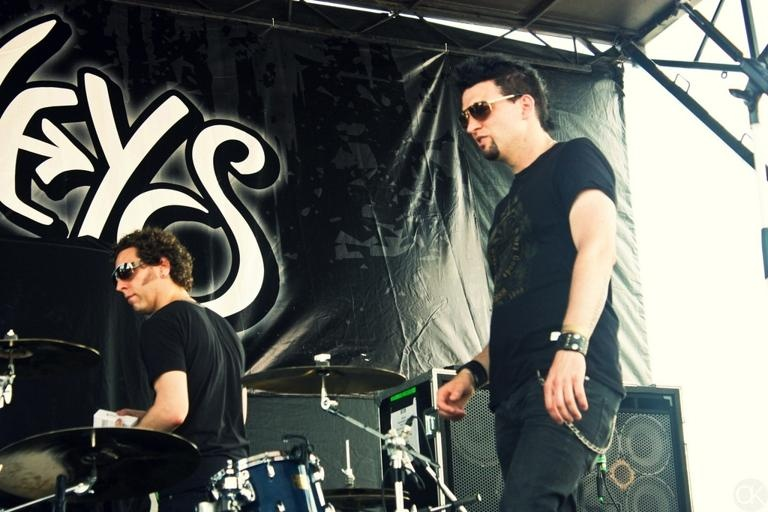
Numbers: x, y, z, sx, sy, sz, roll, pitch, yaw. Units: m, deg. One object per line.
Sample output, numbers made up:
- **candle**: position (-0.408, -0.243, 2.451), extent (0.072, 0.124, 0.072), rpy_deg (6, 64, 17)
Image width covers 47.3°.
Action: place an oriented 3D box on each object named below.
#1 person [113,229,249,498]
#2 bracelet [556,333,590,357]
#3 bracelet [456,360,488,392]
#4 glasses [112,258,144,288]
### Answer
- **person**: position (-1.401, 0.707, 6.012), extent (1.275, 1.856, 0.803), rpy_deg (0, -3, -16)
- **bracelet**: position (1.098, 0.517, 5.117), extent (0.172, 0.120, 0.165), rpy_deg (8, -2, 30)
- **bracelet**: position (0.587, 0.788, 5.796), extent (0.085, 0.161, 0.200), rpy_deg (-1, -2, -16)
- **glasses**: position (-1.786, 0.129, 6.088), extent (0.170, 0.077, 0.176), rpy_deg (-22, -21, 27)
